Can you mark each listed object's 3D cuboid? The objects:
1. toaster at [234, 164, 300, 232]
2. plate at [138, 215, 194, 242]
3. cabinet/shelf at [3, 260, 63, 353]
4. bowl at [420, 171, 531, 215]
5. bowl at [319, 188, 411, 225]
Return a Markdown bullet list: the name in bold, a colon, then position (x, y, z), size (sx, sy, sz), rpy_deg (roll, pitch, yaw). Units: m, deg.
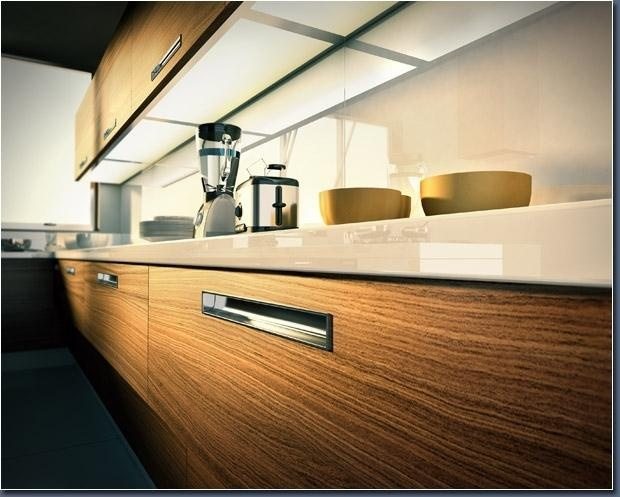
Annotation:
- **toaster**: position (-0.125, -0.129, 1.145), size (0.183, 0.180, 0.203), rpy_deg (-2, 0, -10)
- **plate**: position (-0.727, -0.104, 2.034), size (0.159, 0.106, 0.263), rpy_deg (-1, 1, 41)
- **cabinet/shelf**: position (-2.234, 0.441, 3.142), size (0.401, 0.790, 0.228), rpy_deg (-3, 1, -35)
- **bowl**: position (0.268, -0.088, 0.627), size (0.101, 0.035, 0.105), rpy_deg (-1, -7, 0)
- **bowl**: position (0.105, -0.089, 0.788), size (0.165, 0.075, 0.075), rpy_deg (-2, 1, -3)
